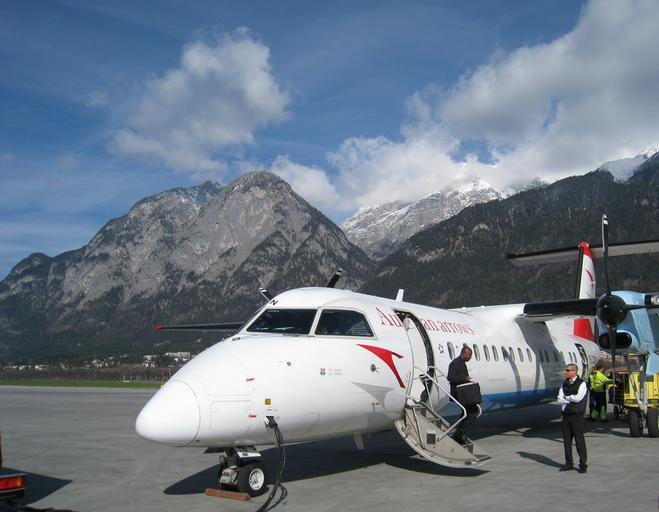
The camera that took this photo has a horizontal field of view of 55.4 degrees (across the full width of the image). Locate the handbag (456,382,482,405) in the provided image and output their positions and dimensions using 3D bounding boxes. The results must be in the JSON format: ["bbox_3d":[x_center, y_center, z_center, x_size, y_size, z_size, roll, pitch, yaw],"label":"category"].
[{"bbox_3d":[3.485,3.470,16.011,0.833,0.764,0.490,-1,-19,5],"label":"handbag"}]
